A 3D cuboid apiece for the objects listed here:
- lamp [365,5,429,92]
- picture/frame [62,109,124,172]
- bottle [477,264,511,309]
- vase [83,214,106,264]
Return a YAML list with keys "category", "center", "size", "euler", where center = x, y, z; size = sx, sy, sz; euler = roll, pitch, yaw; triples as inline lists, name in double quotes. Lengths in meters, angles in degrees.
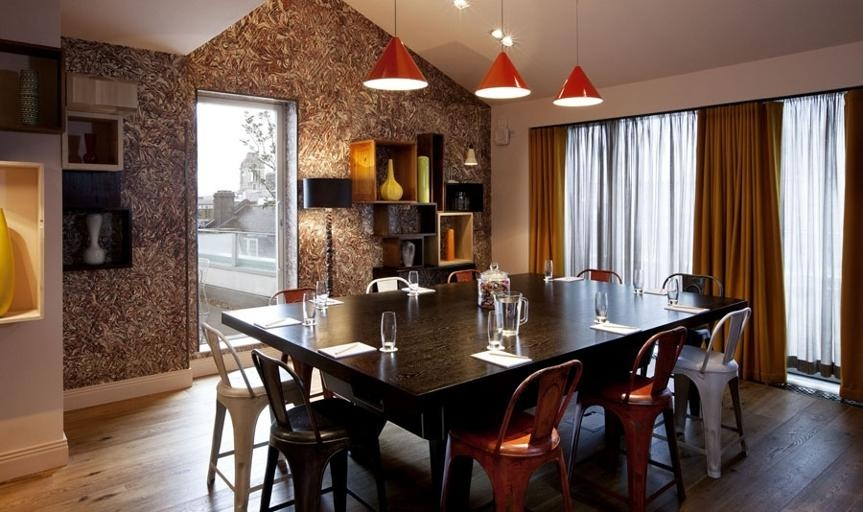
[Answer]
- category: "lamp"
  center: [-0.289, -1.658, 4.774]
  size: [0.426, 0.422, 0.373]
  euler: [11, 17, 39]
- category: "picture/frame"
  center: [-3.317, -1.132, 5.515]
  size: [0.549, 0.572, 0.270]
  euler: [-8, 15, -30]
- category: "bottle"
  center: [0.532, 0.264, 4.977]
  size: [0.347, 0.408, 0.362]
  euler: [1, -2, 0]
- category: "vase"
  center: [-3.412, -0.169, 5.688]
  size: [0.227, 0.526, 0.143]
  euler: [-11, 16, -37]
